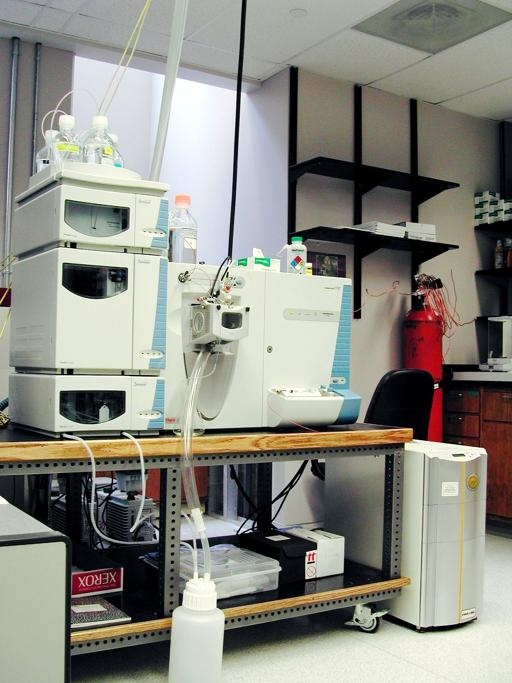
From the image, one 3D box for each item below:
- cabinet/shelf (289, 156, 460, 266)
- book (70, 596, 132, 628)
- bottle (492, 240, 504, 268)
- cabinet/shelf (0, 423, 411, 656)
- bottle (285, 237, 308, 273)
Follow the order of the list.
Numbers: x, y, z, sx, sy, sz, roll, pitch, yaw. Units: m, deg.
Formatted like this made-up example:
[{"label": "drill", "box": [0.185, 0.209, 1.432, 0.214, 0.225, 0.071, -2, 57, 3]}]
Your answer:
[{"label": "cabinet/shelf", "box": [0.692, -0.742, 3.800, 1.021, 0.468, 0.301, 2, 4, -29]}, {"label": "book", "box": [-0.380, 0.661, 1.560, 0.136, 0.019, 0.265, 3, -5, -16]}, {"label": "bottle", "box": [1.653, -0.589, 4.322, 0.056, 0.190, 0.066, 0, -6, 18]}, {"label": "cabinet/shelf", "box": [-0.063, 0.547, 1.676, 1.248, 0.627, 0.245, 5, -7, -37]}, {"label": "bottle", "box": [0.126, -0.266, 1.979, 0.061, 0.150, 0.176, 1, -5, 3]}]
